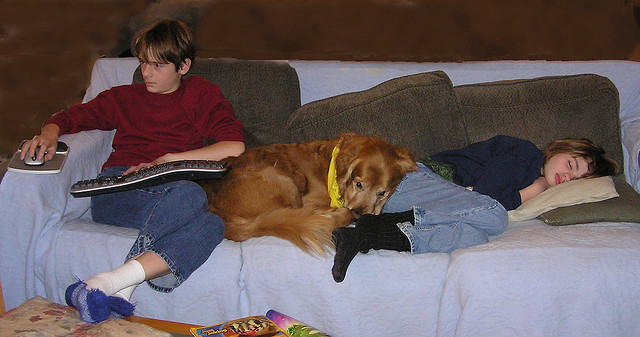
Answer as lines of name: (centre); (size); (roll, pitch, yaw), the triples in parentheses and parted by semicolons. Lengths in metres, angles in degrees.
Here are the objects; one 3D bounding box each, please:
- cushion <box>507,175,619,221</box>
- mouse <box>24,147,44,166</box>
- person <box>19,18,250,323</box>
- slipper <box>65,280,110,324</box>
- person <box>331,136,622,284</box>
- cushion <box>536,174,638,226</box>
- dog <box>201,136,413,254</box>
cushion: (1.628, 0.190, 3.296); (0.535, 0.084, 0.339); (-13, 11, 19)
mouse: (-1.812, -0.071, 3.104); (0.107, 0.067, 0.128); (-16, 40, -25)
person: (-1.198, -0.014, 3.074); (1.504, 1.100, 1.776); (-2, 43, -9)
slipper: (-1.273, 0.736, 2.716); (0.271, 0.160, 0.143); (29, 44, 31)
person: (0.977, 0.179, 3.254); (1.811, 0.477, 0.924); (-9, 17, -2)
cushion: (1.808, 0.215, 3.271); (0.421, 0.076, 0.360); (-4, 26, 14)
dog: (-0.100, 0.151, 3.253); (1.245, 0.420, 0.774); (-3, 30, -9)
